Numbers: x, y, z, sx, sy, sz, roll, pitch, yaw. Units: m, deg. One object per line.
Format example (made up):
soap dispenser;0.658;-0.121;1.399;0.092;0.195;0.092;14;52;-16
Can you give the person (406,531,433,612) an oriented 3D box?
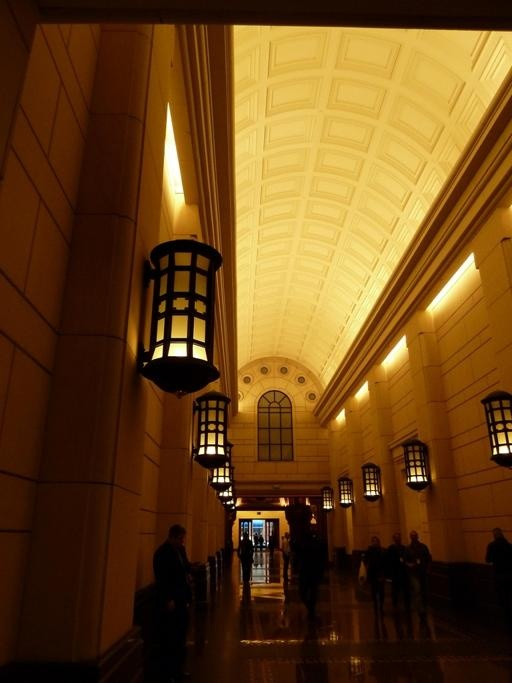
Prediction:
person;2.980;4.241;8.070;0.334;1.534;0.398;-7;0;9

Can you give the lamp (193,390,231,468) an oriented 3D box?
lamp;-0.749;1.434;7.372;0.569;1.284;0.623;1;-20;-6

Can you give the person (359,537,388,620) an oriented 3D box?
person;2.235;4.383;8.397;0.427;1.263;2.145;-5;-24;11

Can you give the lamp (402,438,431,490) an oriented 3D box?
lamp;3.644;2.875;10.123;0.447;1.235;0.536;7;-30;-2

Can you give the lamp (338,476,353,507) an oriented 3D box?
lamp;3.569;5.821;17.325;0.362;1.161;1.192;3;-23;-10

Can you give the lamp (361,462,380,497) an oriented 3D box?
lamp;3.694;4.464;14.119;0.614;1.120;0.483;-10;-22;23

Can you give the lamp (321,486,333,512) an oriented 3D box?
lamp;3.290;7.215;20.335;0.569;1.071;0.516;-8;-21;18
